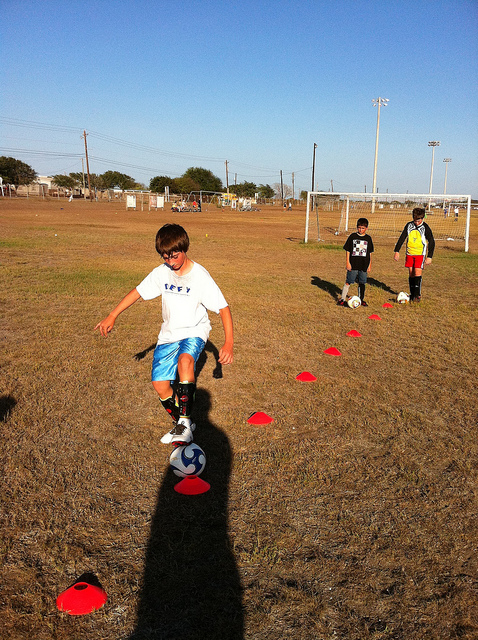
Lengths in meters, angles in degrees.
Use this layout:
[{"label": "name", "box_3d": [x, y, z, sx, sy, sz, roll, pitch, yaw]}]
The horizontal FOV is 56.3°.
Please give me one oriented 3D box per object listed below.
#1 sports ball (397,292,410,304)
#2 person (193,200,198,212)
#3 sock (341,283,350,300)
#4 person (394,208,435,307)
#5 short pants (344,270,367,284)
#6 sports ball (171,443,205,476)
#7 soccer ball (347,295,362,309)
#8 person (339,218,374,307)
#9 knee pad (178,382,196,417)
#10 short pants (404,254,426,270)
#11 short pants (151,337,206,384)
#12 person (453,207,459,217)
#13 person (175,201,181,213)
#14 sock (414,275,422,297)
[{"label": "sports ball", "box_3d": [3.231, -0.450, 8.740, 0.189, 0.223, 0.235, 25, 2, 36]}, {"label": "person", "box_3d": [-5.020, -13.200, 51.398, 0.404, 0.997, 1.153, 2, 11, 8]}, {"label": "sock", "box_3d": [1.967, -0.542, 8.339, 0.108, 0.316, 0.282, 3, 10, 12]}, {"label": "person", "box_3d": [3.344, -1.218, 8.627, 0.651, 1.819, 0.731, 9, 12, 41]}, {"label": "short pants", "box_3d": [2.206, -0.817, 8.417, 0.394, 0.441, 0.180, 5, 50, 6]}, {"label": "sports ball", "box_3d": [-0.323, 0.897, 2.866, 0.164, 0.187, 0.164, 1, 12, 0]}, {"label": "soccer ball", "box_3d": [2.120, -0.327, 8.277, 0.243, 0.219, 0.250, 1, 11, 0]}, {"label": "person", "box_3d": [2.428, -1.260, 9.190, 0.533, 1.669, 2.693, 3, 11, 16]}, {"label": "knee pad", "box_3d": [-0.367, 0.566, 3.114, 0.109, 0.286, 0.118, -1, 9, -9]}, {"label": "short pants", "box_3d": [3.353, -1.137, 8.547, 0.360, 0.351, 0.219, 8, 6, 43]}, {"label": "short pants", "box_3d": [-0.447, 0.300, 3.245, 0.343, 0.349, 0.232, 4, 10, 16]}, {"label": "person", "box_3d": [16.930, -8.531, 34.985, 0.213, 0.722, 1.193, 4, 11, 20]}, {"label": "person", "box_3d": [-6.666, -12.507, 49.013, 0.392, 0.856, 1.372, -3, 12, -24]}, {"label": "sock", "box_3d": [3.417, -0.656, 8.590, 0.177, 0.390, 0.096, -4, 10, -25]}]
